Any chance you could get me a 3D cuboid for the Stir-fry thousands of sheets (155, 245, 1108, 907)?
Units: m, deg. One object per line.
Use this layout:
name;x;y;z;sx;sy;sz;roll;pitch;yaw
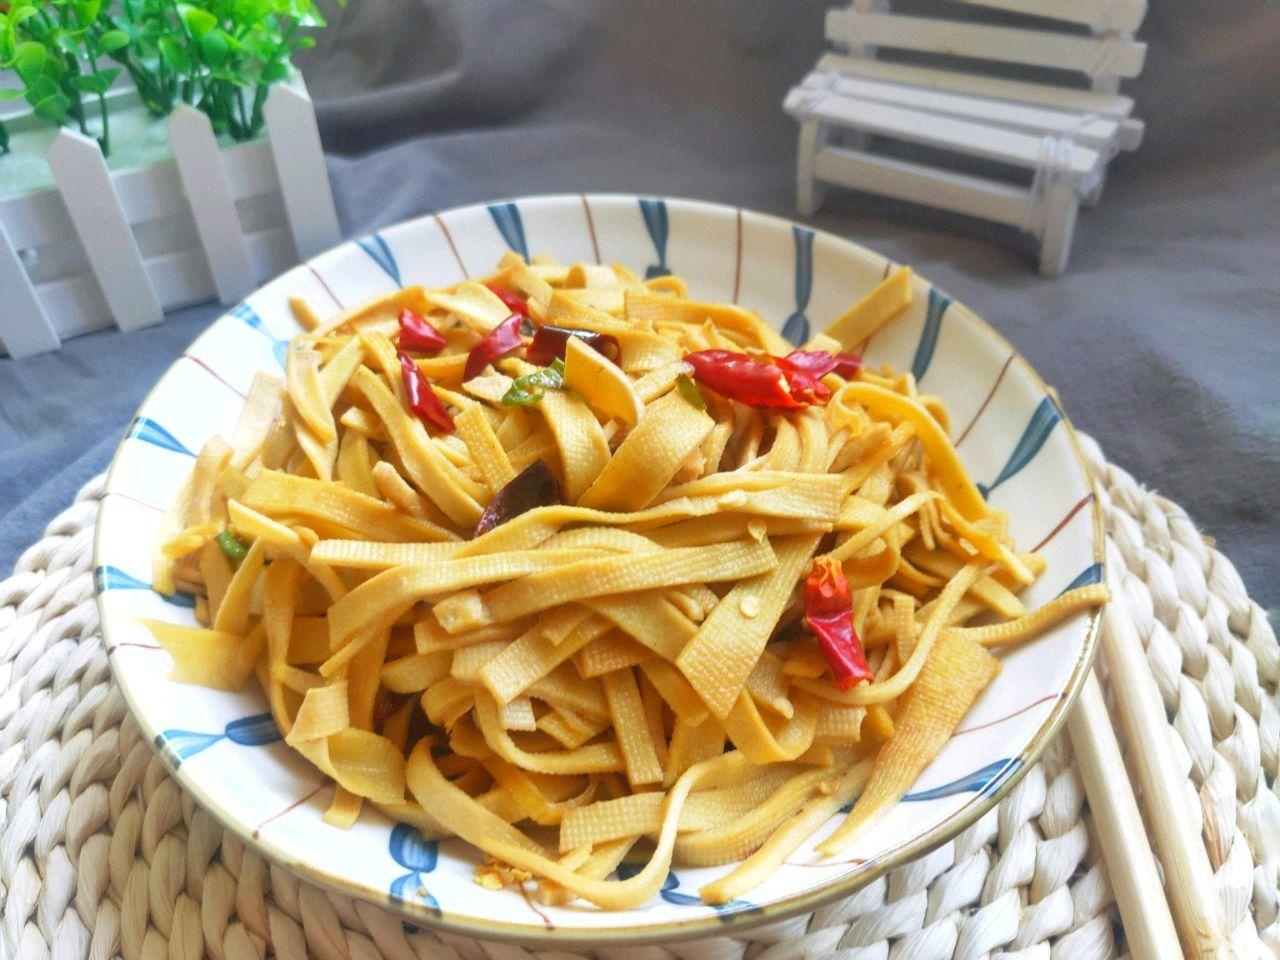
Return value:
Stir-fry thousands of sheets;-0.033;0.033;1.309;1.122;0.277;0.886;14;60;9
